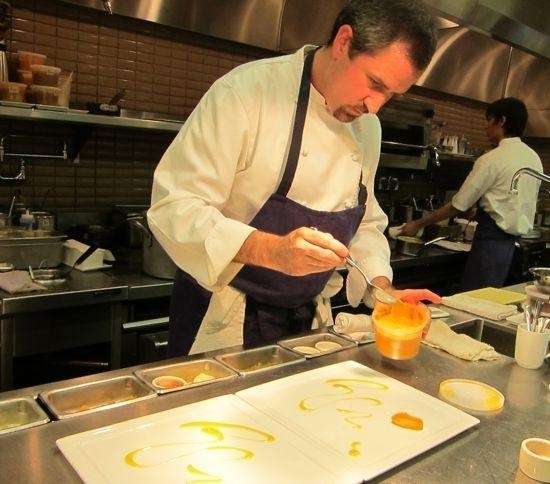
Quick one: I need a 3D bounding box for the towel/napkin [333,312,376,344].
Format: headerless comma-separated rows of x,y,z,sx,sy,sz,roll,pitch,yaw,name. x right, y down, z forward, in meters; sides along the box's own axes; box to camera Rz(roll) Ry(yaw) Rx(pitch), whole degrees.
0.256,0.274,1.396,0.122,0.078,0.037,6,-27,-36,towel/napkin

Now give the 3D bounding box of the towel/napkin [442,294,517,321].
0.824,0.261,1.758,0.129,0.028,0.153,-8,12,-35,towel/napkin

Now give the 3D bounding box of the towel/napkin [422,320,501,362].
0.568,0.289,1.343,0.127,0.039,0.150,-15,22,-42,towel/napkin

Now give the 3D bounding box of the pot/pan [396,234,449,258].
1.185,0.031,3.434,0.407,0.118,0.190,1,3,2,pot/pan
